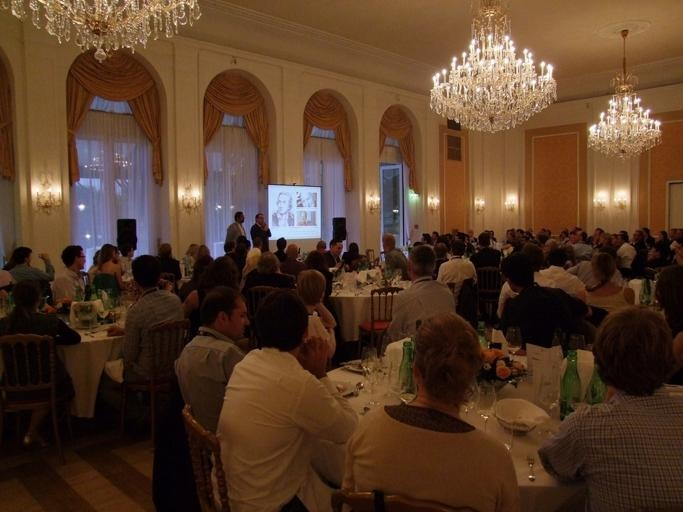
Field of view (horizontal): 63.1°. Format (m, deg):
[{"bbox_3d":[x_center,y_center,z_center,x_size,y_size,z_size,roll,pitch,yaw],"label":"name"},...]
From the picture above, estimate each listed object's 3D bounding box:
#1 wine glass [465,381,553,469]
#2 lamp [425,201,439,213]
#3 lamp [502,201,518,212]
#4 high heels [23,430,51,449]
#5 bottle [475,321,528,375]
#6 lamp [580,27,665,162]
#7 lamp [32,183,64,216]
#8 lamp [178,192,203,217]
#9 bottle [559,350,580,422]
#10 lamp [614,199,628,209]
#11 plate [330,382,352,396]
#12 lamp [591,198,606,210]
[{"bbox_3d":[0.948,0.892,3.154,0.319,0.257,0.598,-9,18,-31],"label":"wine glass"},{"bbox_3d":[2.544,-1.373,15.568,0.228,0.509,0.427,-3,-3,44],"label":"lamp"},{"bbox_3d":[5.217,-1.525,17.162,0.245,0.347,0.276,0,-1,8],"label":"lamp"},{"bbox_3d":[-2.651,1.642,4.944,0.288,0.153,0.115,1,-5,-5],"label":"high heels"},{"bbox_3d":[1.006,0.623,3.489,0.306,0.169,0.342,-2,0,28],"label":"bottle"},{"bbox_3d":[6.844,-3.977,13.431,1.893,4.048,1.860,4,-5,-44],"label":"lamp"},{"bbox_3d":[-4.775,-0.918,9.054,0.132,0.519,0.471,-4,-4,26],"label":"lamp"},{"bbox_3d":[-2.923,-1.015,10.743,0.125,0.458,0.417,-2,0,36],"label":"lamp"},{"bbox_3d":[1.356,0.738,3.293,0.122,0.379,0.298,6,15,25],"label":"bottle"},{"bbox_3d":[7.650,-1.419,15.230,0.281,0.260,0.074,7,15,25],"label":"lamp"},{"bbox_3d":[-0.016,0.848,3.563,0.149,0.054,0.150,13,5,-21],"label":"plate"},{"bbox_3d":[7.202,-1.458,15.597,0.241,0.343,0.264,-1,1,0],"label":"lamp"}]
